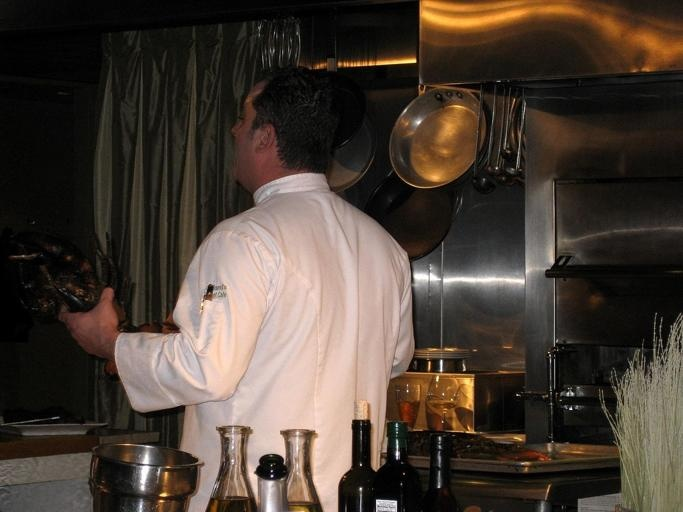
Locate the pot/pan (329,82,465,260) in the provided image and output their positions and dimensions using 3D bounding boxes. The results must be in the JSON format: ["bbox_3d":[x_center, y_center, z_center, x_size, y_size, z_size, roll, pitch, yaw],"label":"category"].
[{"bbox_3d":[0.275,-0.354,3.855,0.566,0.675,0.134,-6,12,44],"label":"pot/pan"}]
